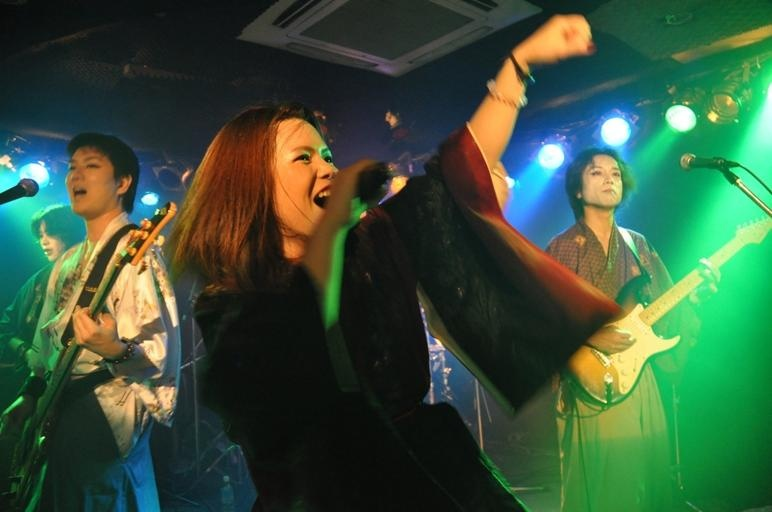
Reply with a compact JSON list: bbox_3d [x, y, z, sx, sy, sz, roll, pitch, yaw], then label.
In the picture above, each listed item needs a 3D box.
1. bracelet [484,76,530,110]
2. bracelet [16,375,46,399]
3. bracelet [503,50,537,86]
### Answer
[{"bbox_3d":[0.794,-1.022,4.180,0.218,0.219,0.062,-23,-14,-17],"label":"bracelet"},{"bbox_3d":[-3.209,1.190,5.788,0.226,0.206,0.193,8,17,-37],"label":"bracelet"},{"bbox_3d":[0.853,-1.207,4.158,0.055,0.210,0.160,-39,-17,25],"label":"bracelet"}]
